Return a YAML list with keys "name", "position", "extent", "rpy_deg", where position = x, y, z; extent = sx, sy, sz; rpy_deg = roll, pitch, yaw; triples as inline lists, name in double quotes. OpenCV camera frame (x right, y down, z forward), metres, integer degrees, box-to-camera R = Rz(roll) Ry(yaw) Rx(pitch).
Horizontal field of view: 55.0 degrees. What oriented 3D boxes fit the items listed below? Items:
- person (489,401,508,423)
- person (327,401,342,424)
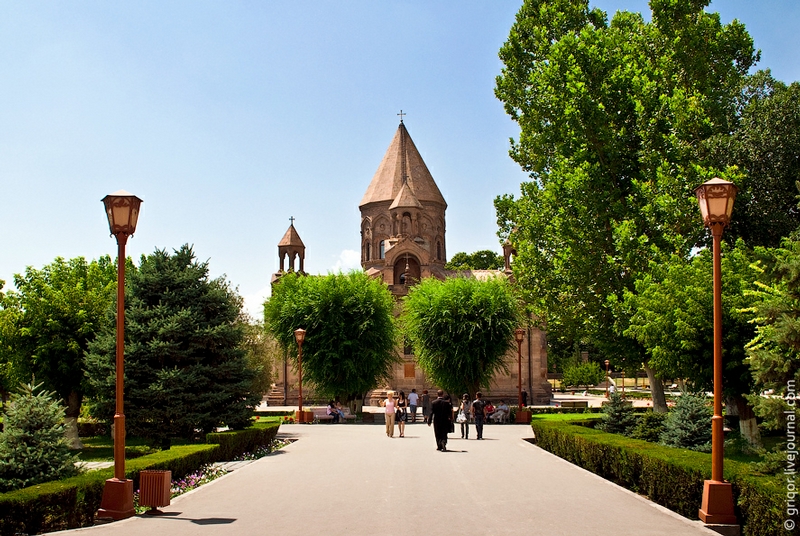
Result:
- name: "person"
  position: [6.212, 9.038, 48.034]
  extent: [0.893, 1.229, 0.580]
  rpy_deg: [-2, -17, 22]
- name: "person"
  position: [-4.160, 9.134, 49.108]
  extent: [0.809, 1.360, 1.826]
  rpy_deg: [0, -8, -8]
